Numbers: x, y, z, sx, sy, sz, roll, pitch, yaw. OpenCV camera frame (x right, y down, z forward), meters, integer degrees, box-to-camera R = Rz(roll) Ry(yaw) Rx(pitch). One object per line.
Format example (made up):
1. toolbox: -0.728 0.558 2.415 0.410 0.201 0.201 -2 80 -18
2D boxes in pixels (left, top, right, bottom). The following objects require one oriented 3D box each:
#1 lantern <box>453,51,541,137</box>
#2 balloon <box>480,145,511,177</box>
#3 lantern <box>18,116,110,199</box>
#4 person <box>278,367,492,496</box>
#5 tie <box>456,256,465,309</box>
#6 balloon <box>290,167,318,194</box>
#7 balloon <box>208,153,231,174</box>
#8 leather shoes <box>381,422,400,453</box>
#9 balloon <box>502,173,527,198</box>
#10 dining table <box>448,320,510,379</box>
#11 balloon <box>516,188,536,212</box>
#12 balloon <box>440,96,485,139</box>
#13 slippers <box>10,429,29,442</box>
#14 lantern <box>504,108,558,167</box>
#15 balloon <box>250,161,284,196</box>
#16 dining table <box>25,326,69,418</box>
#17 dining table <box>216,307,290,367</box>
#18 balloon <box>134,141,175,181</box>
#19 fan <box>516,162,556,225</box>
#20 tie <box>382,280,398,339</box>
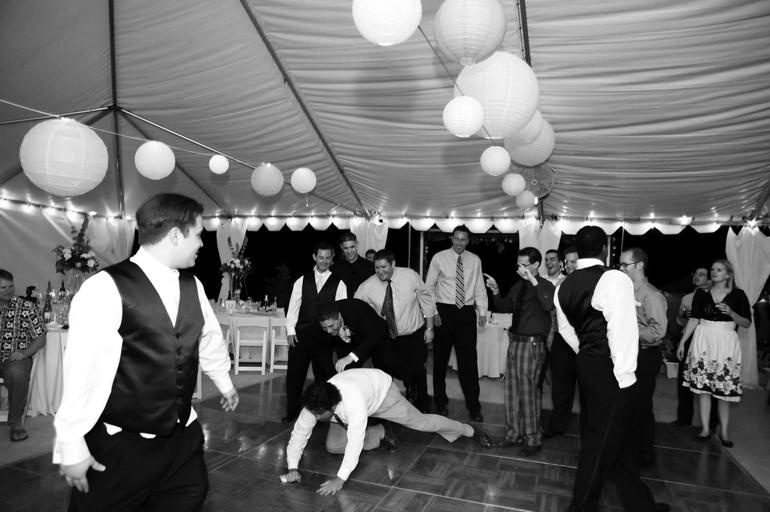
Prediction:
1. lantern: 1.051 -1.649 5.834 0.715 0.897 0.754 0 1 -2
2. balloon: 1.369 -1.222 7.154 0.319 0.451 0.439 2 -13 14
3. lantern: -3.545 -1.100 6.499 0.811 1.018 0.850 4 7 30
4. person: 0.101 1.673 5.969 2.096 1.037 0.946 -2 7 -28
5. tie: 0.945 0.312 7.239 0.125 0.667 0.071 3 -12 7
6. balloon: -1.256 -1.206 8.977 0.385 0.492 0.402 7 12 33
7. balloon: -2.366 -1.357 8.392 0.208 0.329 0.385 7 -13 -10
8. leather shoes: 0.068 2.008 6.404 0.106 0.293 0.119 -20 4 16
9. balloon: 1.753 -0.988 8.057 0.297 0.378 0.315 -1 -18 -4
10. dining table: 1.556 1.444 9.028 0.851 0.701 0.903 0 -10 5
11. balloon: 2.038 -0.811 8.393 0.286 0.291 0.289 1 7 -25
12. balloon: 0.753 -1.393 5.729 0.365 0.456 0.384 -2 4 -3
13. slippers: -3.971 1.951 6.343 0.189 0.139 0.172 11 -14 -24
14. lantern: 1.797 -1.352 6.930 0.580 0.857 0.613 -2 -1 2
15. balloon: -1.779 -1.098 8.837 0.453 0.580 0.475 7 -15 -9
16. dining table: -4.053 1.491 6.979 0.334 1.330 0.187 -1 40 -46
17. dining table: -2.088 1.403 9.549 1.095 0.849 1.239 -7 -14 35
18. balloon: -3.045 -1.286 7.735 0.484 0.593 0.485 -2 15 -26
19. fan: 2.239 -0.958 8.369 0.553 0.679 0.235 18 22 27
20. tie: 0.077 0.633 7.020 0.226 0.664 0.132 6 -12 -5
